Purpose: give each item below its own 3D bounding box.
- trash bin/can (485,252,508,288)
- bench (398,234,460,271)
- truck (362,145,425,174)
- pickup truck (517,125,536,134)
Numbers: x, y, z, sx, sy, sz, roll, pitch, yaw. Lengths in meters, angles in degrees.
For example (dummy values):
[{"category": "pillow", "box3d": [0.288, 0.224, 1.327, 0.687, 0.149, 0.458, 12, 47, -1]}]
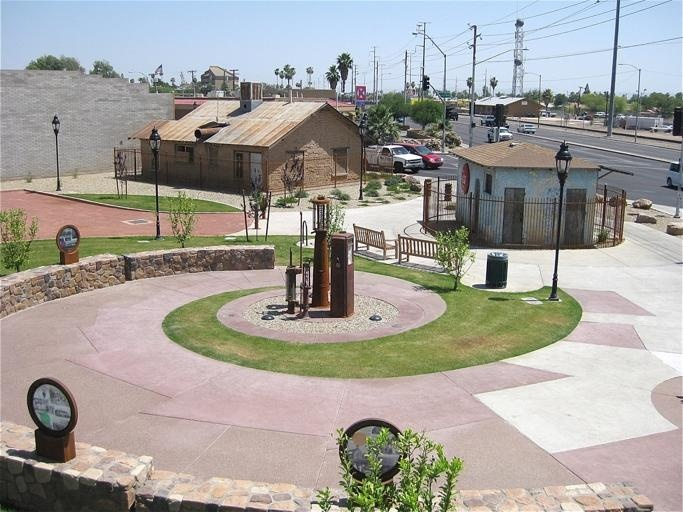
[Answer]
[{"category": "trash bin/can", "box3d": [4.986, 0.498, 19.637, 0.854, 0.955, 0.852, 0, 7, -16]}, {"category": "bench", "box3d": [3.070, -0.136, 22.548, 1.881, 1.099, 0.691, 12, 18, 37]}, {"category": "truck", "box3d": [3.801, -7.597, 48.708, 2.195, 1.583, 4.388, -14, 22, -39]}, {"category": "pickup truck", "box3d": [25.824, -17.528, 85.295, 1.598, 1.176, 2.556, -1, 17, -5]}]
